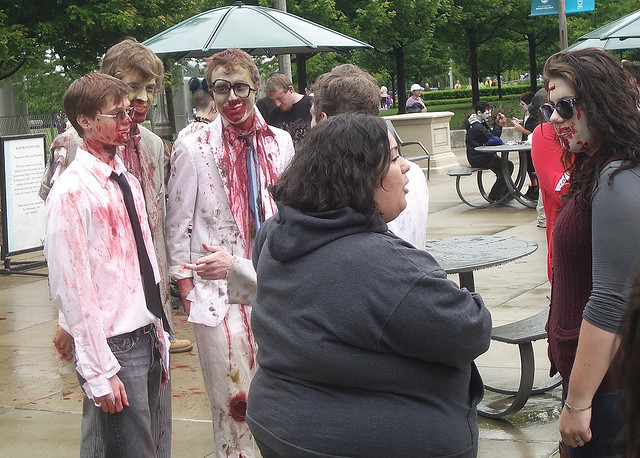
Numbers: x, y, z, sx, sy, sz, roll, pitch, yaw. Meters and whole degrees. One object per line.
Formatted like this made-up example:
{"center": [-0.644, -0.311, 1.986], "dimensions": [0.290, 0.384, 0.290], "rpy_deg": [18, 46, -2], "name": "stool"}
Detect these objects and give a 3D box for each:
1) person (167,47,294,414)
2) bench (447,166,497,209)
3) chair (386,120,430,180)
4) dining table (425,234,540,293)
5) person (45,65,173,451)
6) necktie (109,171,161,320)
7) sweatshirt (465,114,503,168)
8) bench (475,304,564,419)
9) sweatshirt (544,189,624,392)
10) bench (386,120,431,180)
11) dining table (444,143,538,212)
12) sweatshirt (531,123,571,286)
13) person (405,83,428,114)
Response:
{"center": [-0.451, 0.307, 4.636], "dimensions": [0.948, 2.750, 0.757], "rpy_deg": [-3, 30, -8], "name": "person"}
{"center": [2.717, -0.733, 13.523], "dimensions": [0.726, 0.506, 1.030], "rpy_deg": [1, 10, 12], "name": "bench"}
{"center": [1.882, -1.574, 15.760], "dimensions": [0.859, 1.166, 0.758], "rpy_deg": [0, 7, 7], "name": "chair"}
{"center": [1.178, 0.169, 5.640], "dimensions": [0.702, 0.424, 0.691], "rpy_deg": [-2, 7, -2], "name": "dining table"}
{"center": [-1.039, 0.206, 3.726], "dimensions": [0.424, 1.955, 0.614], "rpy_deg": [-3, 6, 16], "name": "person"}
{"center": [-0.900, 0.076, 3.779], "dimensions": [0.175, 0.737, 0.119], "rpy_deg": [-3, 6, 13], "name": "necktie"}
{"center": [2.895, -1.589, 13.679], "dimensions": [0.480, 0.961, 1.108], "rpy_deg": [-3, 6, 12], "name": "sweatshirt"}
{"center": [1.438, 0.817, 5.188], "dimensions": [0.577, 0.345, 0.835], "rpy_deg": [-15, 0, 12], "name": "bench"}
{"center": [1.271, 0.259, 3.514], "dimensions": [0.450, 0.916, 0.454], "rpy_deg": [6, -2, -26], "name": "sweatshirt"}
{"center": [1.964, -1.579, 16.160], "dimensions": [0.835, 1.111, 0.703], "rpy_deg": [-3, 5, 1], "name": "bench"}
{"center": [3.042, -0.904, 14.014], "dimensions": [1.372, 1.122, 2.280], "rpy_deg": [-5, 8, -33], "name": "dining table"}
{"center": [1.200, -0.132, 4.291], "dimensions": [0.256, 0.859, 0.276], "rpy_deg": [12, 25, 15], "name": "sweatshirt"}
{"center": [3.285, -4.270, 25.529], "dimensions": [0.630, 1.048, 0.823], "rpy_deg": [1, 14, 42], "name": "person"}
